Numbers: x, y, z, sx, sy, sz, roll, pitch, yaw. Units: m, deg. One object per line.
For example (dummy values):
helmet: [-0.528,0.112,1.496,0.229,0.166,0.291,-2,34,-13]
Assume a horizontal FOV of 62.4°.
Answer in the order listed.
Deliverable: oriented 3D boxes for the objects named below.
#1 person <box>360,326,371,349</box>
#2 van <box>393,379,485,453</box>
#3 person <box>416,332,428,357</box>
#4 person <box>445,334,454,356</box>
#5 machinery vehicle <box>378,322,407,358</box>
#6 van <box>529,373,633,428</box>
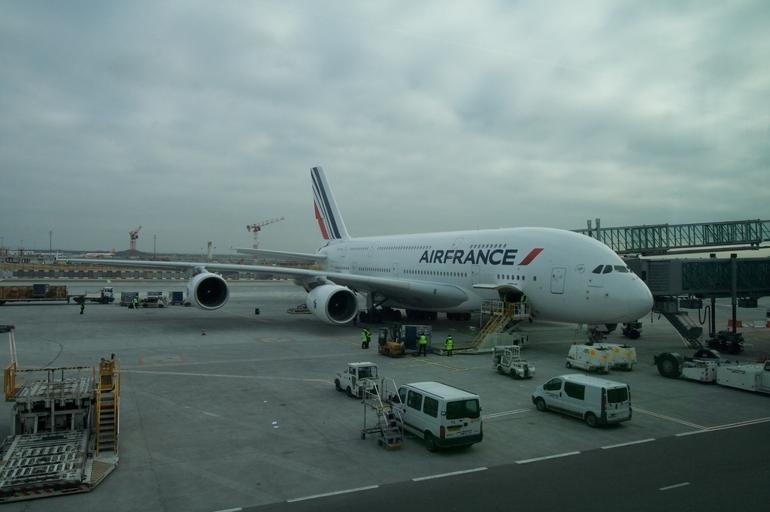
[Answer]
person: [-1.033,4.269,33.327,0.443,1.073,1.296,-3,0,-2]
van: [1.825,5.367,22.053,2.139,1.533,3.796,1,-1,-26]
person: [1.840,4.323,31.485,0.522,1.061,0.696,-3,0,3]
person: [3.165,4.320,31.381,0.424,0.981,1.320,-3,0,5]
machinery vehicle: [0.507,4.093,31.607,1.348,1.376,1.739,-5,2,-30]
van: [7.142,5.116,23.051,1.787,1.042,2.886,0,2,-38]
